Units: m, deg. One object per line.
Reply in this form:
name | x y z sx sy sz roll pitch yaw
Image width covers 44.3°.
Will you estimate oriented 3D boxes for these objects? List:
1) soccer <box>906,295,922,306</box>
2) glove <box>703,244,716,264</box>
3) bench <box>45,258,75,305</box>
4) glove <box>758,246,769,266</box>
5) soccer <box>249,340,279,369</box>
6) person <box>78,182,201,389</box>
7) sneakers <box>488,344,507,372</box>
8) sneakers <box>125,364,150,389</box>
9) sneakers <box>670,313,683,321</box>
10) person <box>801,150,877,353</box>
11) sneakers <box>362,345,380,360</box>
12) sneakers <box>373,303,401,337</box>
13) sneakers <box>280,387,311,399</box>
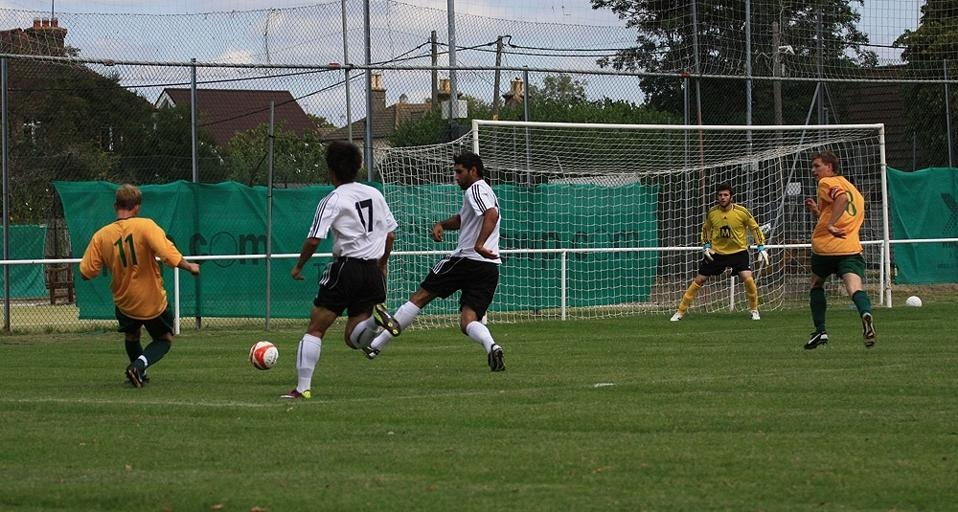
soccer | 9.365 1.000 25.305 0.277 0.145 0.249 -2 5 -12
glove | 4.675 -0.035 24.100 0.147 0.336 0.256 -6 38 10
bench | -10.044 0.757 28.461 0.788 0.858 0.855 -3 1 -30
glove | 5.871 -0.065 24.399 0.168 0.308 0.493 6 31 8
soccer | -3.474 1.631 18.937 0.375 0.343 0.343 -28 30 5
person | -5.478 0.487 18.771 1.512 3.215 0.626 -2 2 -9
sneakers | 0.287 1.678 19.264 0.244 0.465 0.245 -4 16 1
sneakers | -5.442 1.949 18.670 0.258 0.186 0.511 -9 -4 5
sneakers | 4.028 1.294 24.192 0.126 0.100 0.264 6 0 35
person | 6.242 -0.095 20.635 1.115 3.437 1.594 -1 2 16
sneakers | -1.742 1.593 19.074 0.171 0.178 0.440 18 3 6
sneakers | -1.483 1.022 18.564 0.248 0.667 0.291 -49 17 -19
sneakers | -2.855 2.141 18.115 0.493 0.161 0.164 2 -5 1
